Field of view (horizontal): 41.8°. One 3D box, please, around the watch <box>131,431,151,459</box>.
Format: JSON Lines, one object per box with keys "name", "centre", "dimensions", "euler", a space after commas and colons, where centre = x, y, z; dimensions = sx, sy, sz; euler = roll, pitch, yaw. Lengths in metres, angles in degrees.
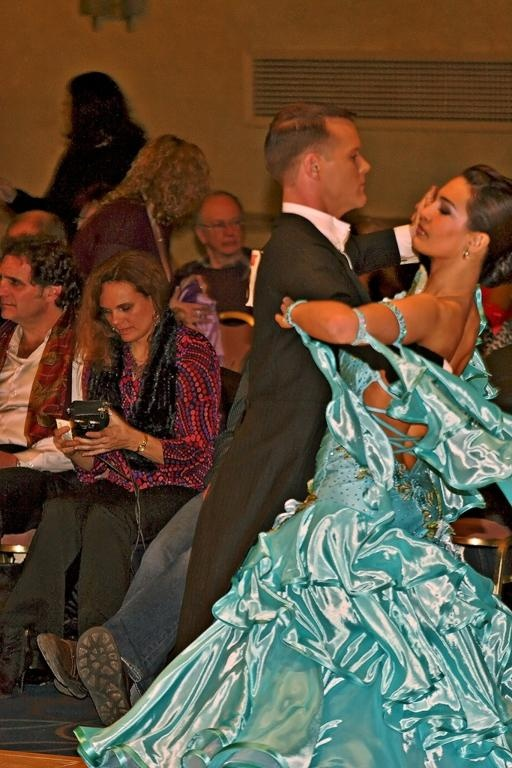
{"name": "watch", "centre": [-0.377, 0.199, 2.201], "dimensions": [0.057, 0.083, 0.076], "euler": [7, 40, -13]}
